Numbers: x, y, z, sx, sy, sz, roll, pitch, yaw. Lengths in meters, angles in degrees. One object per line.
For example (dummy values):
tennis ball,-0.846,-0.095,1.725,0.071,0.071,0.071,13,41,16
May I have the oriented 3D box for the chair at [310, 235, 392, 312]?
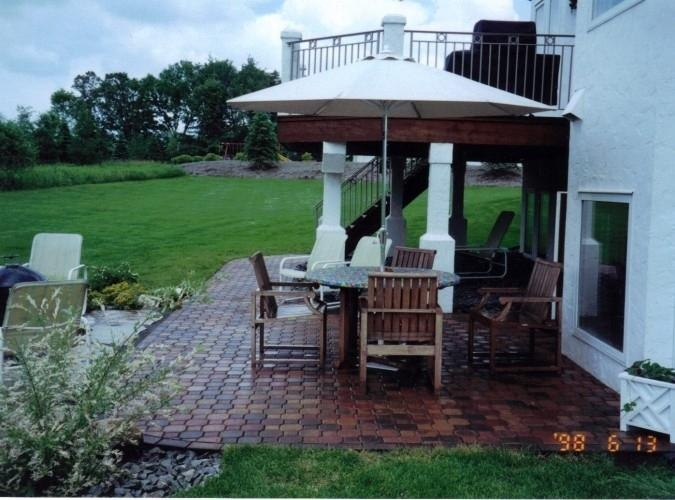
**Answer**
chair,0.061,0.330,8.751,1.594,1.218,1.005,-2,5,-32
